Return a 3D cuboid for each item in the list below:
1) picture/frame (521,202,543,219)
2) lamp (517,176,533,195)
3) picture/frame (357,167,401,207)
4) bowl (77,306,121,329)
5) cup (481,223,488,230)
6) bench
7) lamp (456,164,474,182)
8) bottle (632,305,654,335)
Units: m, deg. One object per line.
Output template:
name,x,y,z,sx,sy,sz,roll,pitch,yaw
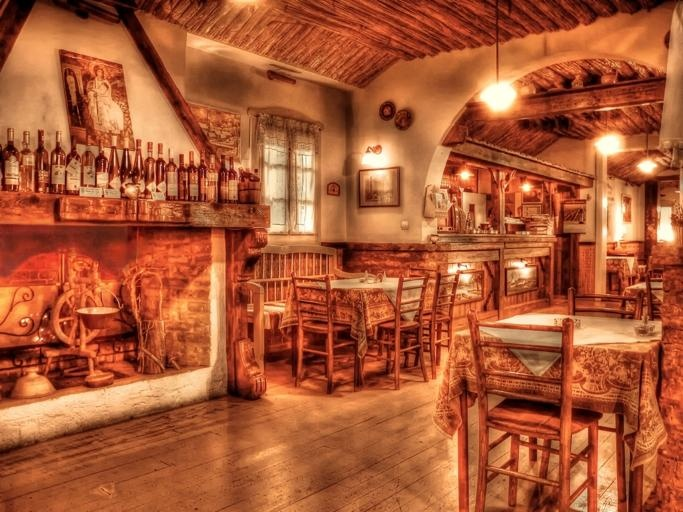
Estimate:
picture/frame,5.032,-1.216,12.650,0.566,0.586,0.059,3,5,31
lamp,5.011,-1.921,13.070,0.431,0.424,0.342,1,3,16
picture/frame,0.643,-1.140,7.860,0.668,0.581,0.057,1,0,39
bowl,-2.265,0.585,4.453,0.343,0.217,0.428,-1,3,-16
cup,2.734,-0.564,9.199,0.122,0.093,0.124,0,3,0
bench,-0.473,0.551,6.837,0.878,1.535,2.361,-5,-3,31
lamp,2.883,-1.945,11.279,0.387,0.407,0.401,0,1,29
bottle,2.264,0.474,3.602,0.092,0.200,0.244,-1,-2,24
